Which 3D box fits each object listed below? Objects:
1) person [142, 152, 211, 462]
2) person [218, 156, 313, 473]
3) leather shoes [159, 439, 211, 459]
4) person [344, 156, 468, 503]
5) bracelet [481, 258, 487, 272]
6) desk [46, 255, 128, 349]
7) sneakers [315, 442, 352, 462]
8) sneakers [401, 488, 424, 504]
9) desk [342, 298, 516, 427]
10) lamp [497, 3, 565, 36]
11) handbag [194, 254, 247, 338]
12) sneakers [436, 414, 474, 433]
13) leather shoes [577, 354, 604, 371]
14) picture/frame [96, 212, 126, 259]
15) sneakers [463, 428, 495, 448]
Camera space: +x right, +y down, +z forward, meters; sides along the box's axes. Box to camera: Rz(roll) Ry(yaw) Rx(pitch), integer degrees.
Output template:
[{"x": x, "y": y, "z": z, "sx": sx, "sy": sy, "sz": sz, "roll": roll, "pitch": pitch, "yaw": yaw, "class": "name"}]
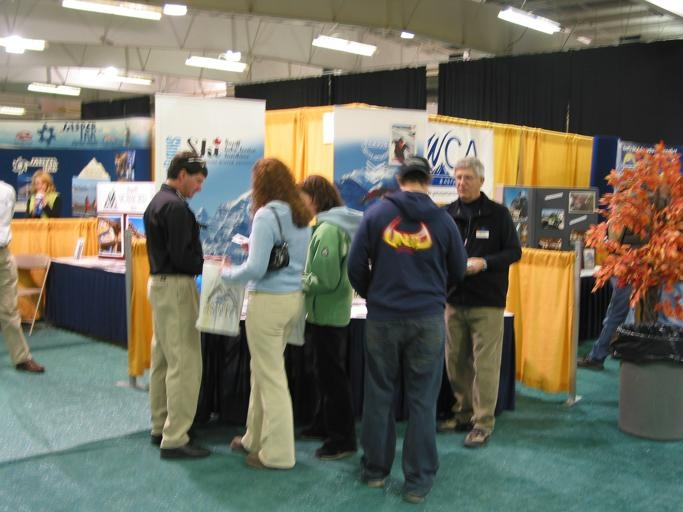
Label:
[{"x": -1.084, "y": 0.328, "z": 3.779, "sx": 0.416, "sy": 2.012, "sz": 0.315, "roll": -2, "pitch": 8, "yaw": -16, "class": "person"}, {"x": -0.452, "y": 0.385, "z": 3.565, "sx": 0.512, "sy": 1.956, "sz": 0.262, "roll": 0, "pitch": 8, "yaw": -5, "class": "person"}, {"x": -1.045, "y": 1.264, "z": 3.870, "sx": 0.337, "sy": 0.169, "sz": 0.130, "roll": -1, "pitch": 0, "yaw": -14, "class": "leather shoes"}, {"x": 0.375, "y": 0.525, "z": 3.399, "sx": 0.677, "sy": 1.795, "sz": 0.332, "roll": 1, "pitch": 8, "yaw": 3, "class": "person"}, {"x": 0.988, "y": 0.060, "z": 3.970, "sx": 0.017, "sy": 0.060, "sz": 0.038, "roll": 1, "pitch": -1, "yaw": -15, "class": "bracelet"}, {"x": -2.769, "y": 0.574, "z": 6.587, "sx": 0.972, "sy": 0.550, "sz": 0.994, "roll": 11, "pitch": 6, "yaw": 37, "class": "desk"}, {"x": -0.049, "y": 1.304, "z": 3.821, "sx": 0.215, "sy": 0.112, "sz": 0.109, "roll": 3, "pitch": -4, "yaw": -11, "class": "sneakers"}, {"x": 0.425, "y": 1.408, "z": 3.353, "sx": 0.108, "sy": 0.048, "sz": 0.064, "roll": -3, "pitch": 8, "yaw": -11, "class": "sneakers"}, {"x": 0.728, "y": 0.703, "z": 4.582, "sx": 0.901, "sy": 0.642, "sz": 0.988, "roll": 1, "pitch": 0, "yaw": -11, "class": "desk"}, {"x": 3.245, "y": -4.137, "z": 9.948, "sx": 1.357, "sy": 0.305, "sz": 0.342, "roll": -7, "pitch": 11, "yaw": -36, "class": "lamp"}, {"x": -0.800, "y": 0.280, "z": 3.762, "sx": 0.256, "sy": 0.521, "sz": 0.266, "roll": 6, "pitch": -18, "yaw": -13, "class": "handbag"}, {"x": 0.841, "y": 1.257, "z": 4.298, "sx": 0.233, "sy": 0.120, "sz": 0.109, "roll": 5, "pitch": -2, "yaw": -13, "class": "sneakers"}, {"x": 2.453, "y": 1.047, "z": 5.694, "sx": 0.292, "sy": 0.161, "sz": 0.127, "roll": 0, "pitch": 3, "yaw": 18, "class": "leather shoes"}, {"x": -2.715, "y": -0.257, "z": 6.777, "sx": 0.427, "sy": 0.622, "sz": 0.058, "roll": 8, "pitch": 8, "yaw": 37, "class": "picture/frame"}, {"x": 0.980, "y": 1.280, "z": 4.057, "sx": 0.274, "sy": 0.097, "sz": 0.120, "roll": -4, "pitch": 10, "yaw": -24, "class": "sneakers"}]
